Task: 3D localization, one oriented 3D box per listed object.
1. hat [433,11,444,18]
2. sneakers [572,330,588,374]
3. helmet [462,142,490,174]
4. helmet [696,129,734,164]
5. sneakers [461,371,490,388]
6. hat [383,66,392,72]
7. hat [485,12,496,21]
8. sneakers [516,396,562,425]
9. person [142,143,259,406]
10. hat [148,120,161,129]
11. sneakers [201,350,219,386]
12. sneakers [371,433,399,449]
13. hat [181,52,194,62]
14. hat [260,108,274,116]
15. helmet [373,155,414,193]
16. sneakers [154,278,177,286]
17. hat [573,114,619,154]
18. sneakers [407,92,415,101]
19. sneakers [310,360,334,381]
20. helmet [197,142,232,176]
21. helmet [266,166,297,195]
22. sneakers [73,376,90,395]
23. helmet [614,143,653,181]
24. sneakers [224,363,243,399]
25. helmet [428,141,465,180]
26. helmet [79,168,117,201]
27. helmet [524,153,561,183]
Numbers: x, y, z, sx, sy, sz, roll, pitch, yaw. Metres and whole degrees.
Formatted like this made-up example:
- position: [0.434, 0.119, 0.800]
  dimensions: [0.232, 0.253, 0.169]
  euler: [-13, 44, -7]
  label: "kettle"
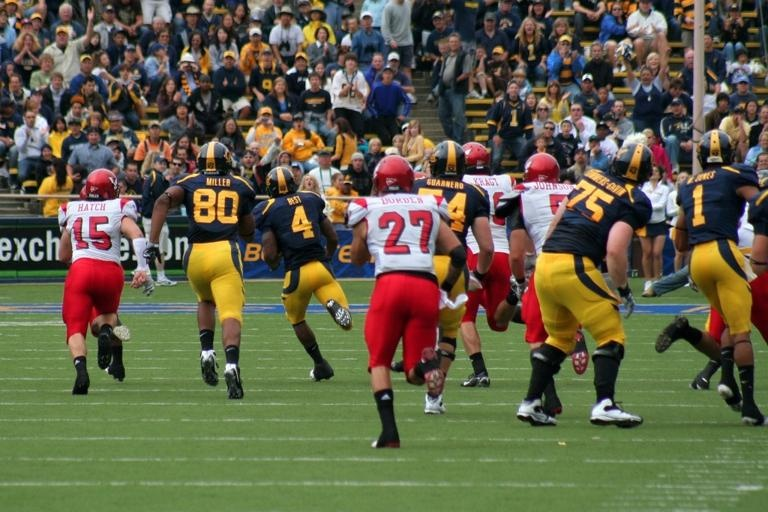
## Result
- position: [1.125, -4.969, 28.554]
  dimensions: [0.242, 0.111, 0.343]
  euler: [0, 0, 9]
  label: "hat"
- position: [2.372, 1.186, 16.589]
  dimensions: [0.195, 0.558, 0.223]
  euler: [-1, -19, 16]
  label: "sneakers"
- position: [1.180, -1.238, 17.655]
  dimensions: [0.325, 0.339, 0.412]
  euler: [-1, 7, -4]
  label: "helmet"
- position: [3.915, -1.292, 16.299]
  dimensions: [0.341, 0.352, 0.421]
  euler: [1, 20, 15]
  label: "helmet"
- position: [1.177, 1.578, 17.494]
  dimensions: [0.403, 0.188, 0.145]
  euler: [0, 1, 9]
  label: "sneakers"
- position: [0.057, -3.543, 26.363]
  dimensions: [0.159, 0.135, 0.148]
  euler: [0, 4, 15]
  label: "hat"
- position: [2.192, -4.925, 28.556]
  dimensions: [0.205, 0.161, 0.323]
  euler: [6, -11, 4]
  label: "hat"
- position: [1.740, 1.802, 15.821]
  dimensions: [0.536, 0.250, 0.223]
  euler: [16, -10, -37]
  label: "sneakers"
- position: [-2.060, 0.173, 16.921]
  dimensions: [1.134, 3.133, 1.330]
  euler: [-4, 4, -34]
  label: "person"
- position: [-4.256, -2.421, 25.619]
  dimensions: [0.288, 0.138, 0.399]
  euler: [1, -6, -10]
  label: "hat"
- position: [-2.096, 1.353, 16.599]
  dimensions: [0.181, 0.433, 0.276]
  euler: [-2, 4, -5]
  label: "sneakers"
- position: [0.010, 2.036, 15.304]
  dimensions: [0.322, 0.186, 0.204]
  euler: [-1, 4, 5]
  label: "sneakers"
- position: [-3.892, -3.903, 27.324]
  dimensions: [0.263, 0.189, 0.425]
  euler: [-2, 4, -7]
  label: "hat"
- position: [-2.217, -2.698, 25.978]
  dimensions: [0.233, 0.124, 0.357]
  euler: [2, 2, -5]
  label: "hat"
- position: [0.102, -0.909, 15.466]
  dimensions: [0.361, 0.371, 0.459]
  euler: [0, 16, 0]
  label: "helmet"
- position: [-3.982, 0.486, 25.147]
  dimensions: [0.342, 0.135, 0.127]
  euler: [1, 8, -7]
  label: "sneakers"
- position: [3.998, -2.235, 26.080]
  dimensions: [0.709, 0.556, 1.072]
  euler: [6, -18, 16]
  label: "hat"
- position: [0.546, -3.136, 27.522]
  dimensions: [0.200, 0.100, 0.140]
  euler: [29, 7, 6]
  label: "sneakers"
- position: [-0.792, 1.499, 17.765]
  dimensions: [0.291, 0.149, 0.408]
  euler: [36, -25, -17]
  label: "sneakers"
- position: [-2.110, -1.215, 17.191]
  dimensions: [0.348, 0.370, 0.447]
  euler: [1, 9, 5]
  label: "helmet"
- position: [-1.323, -0.942, 17.684]
  dimensions: [0.300, 0.302, 0.398]
  euler: [-15, 5, -4]
  label: "helmet"
- position: [-3.743, 1.605, 17.049]
  dimensions: [0.187, 0.218, 0.215]
  euler: [-2, 4, -13]
  label: "sneakers"
- position: [2.845, -1.045, 15.723]
  dimensions: [0.355, 0.397, 0.475]
  euler: [24, 20, 1]
  label: "helmet"
- position: [-1.791, 1.491, 16.464]
  dimensions: [0.190, 0.414, 0.120]
  euler: [-2, 4, -6]
  label: "sneakers"
- position: [0.755, -1.148, 16.642]
  dimensions: [0.372, 0.375, 0.467]
  euler: [2, 9, -2]
  label: "helmet"
- position: [-3.609, -0.894, 17.599]
  dimensions: [0.370, 0.369, 0.482]
  euler: [0, 16, 15]
  label: "helmet"
- position: [1.966, -1.088, 17.139]
  dimensions: [0.333, 0.368, 0.410]
  euler: [1, 6, 1]
  label: "helmet"
